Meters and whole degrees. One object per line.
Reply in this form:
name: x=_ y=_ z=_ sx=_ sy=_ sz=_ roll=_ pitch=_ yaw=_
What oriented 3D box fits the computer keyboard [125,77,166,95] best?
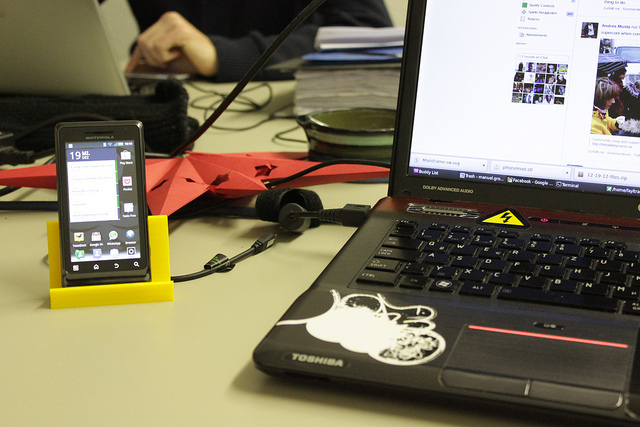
computer keyboard: x=-0.403 y=-0.289 z=1.197 sx=0.095 sy=0.028 sz=0.125 roll=0 pitch=23 yaw=-7
